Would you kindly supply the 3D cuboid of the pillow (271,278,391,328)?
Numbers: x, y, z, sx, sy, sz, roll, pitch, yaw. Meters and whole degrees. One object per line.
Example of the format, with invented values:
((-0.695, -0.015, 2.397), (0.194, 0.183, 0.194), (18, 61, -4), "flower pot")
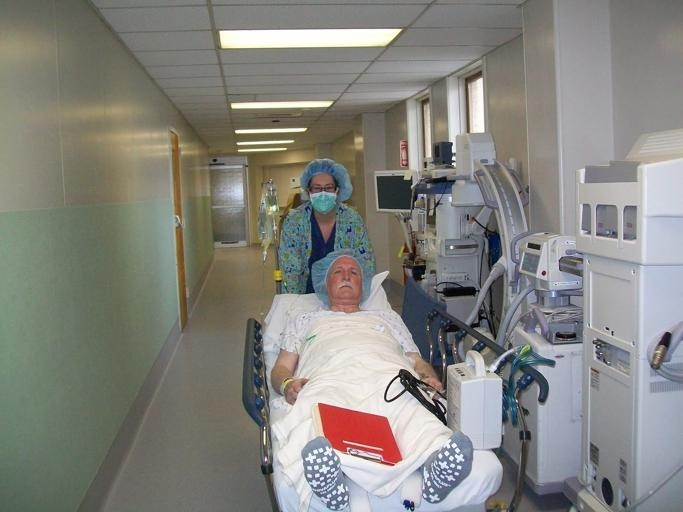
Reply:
((-0.126, 0.343, 3.452), (0.565, 0.262, 0.403), (-1, 21, -1), "pillow")

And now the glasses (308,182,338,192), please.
((-0.138, -0.493, 3.572), (0.192, 0.061, 0.108), (-2, 9, -1), "glasses")

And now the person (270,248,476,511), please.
((0.051, 0.497, 2.426), (0.523, 0.355, 1.315), (-1, 23, -6), "person")

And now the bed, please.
((0.466, 0.529, 2.939), (1.038, 0.650, 1.721), (-1, 16, -7), "bed")

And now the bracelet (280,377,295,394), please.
((-0.296, 0.696, 2.697), (0.061, 0.091, 0.092), (4, 50, -12), "bracelet")

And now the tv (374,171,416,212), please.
((0.627, -0.752, 5.765), (0.192, 0.486, 0.743), (-5, 9, -24), "tv")

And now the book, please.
((0.067, 0.757, 2.086), (0.347, 0.137, 0.364), (-3, 9, -4), "book")
